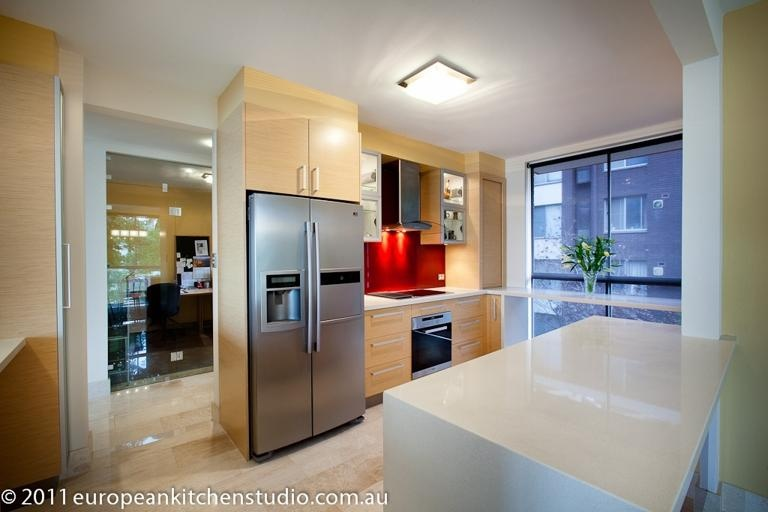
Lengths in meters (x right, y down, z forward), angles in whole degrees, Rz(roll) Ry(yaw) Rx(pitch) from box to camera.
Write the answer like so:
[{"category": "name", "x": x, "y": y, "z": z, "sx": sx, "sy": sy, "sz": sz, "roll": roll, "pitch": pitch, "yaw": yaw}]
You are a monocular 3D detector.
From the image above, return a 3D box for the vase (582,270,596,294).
[{"category": "vase", "x": 2.376, "y": 0.281, "z": 5.570, "sx": 0.130, "sy": 0.263, "sz": 0.366, "roll": -1, "pitch": 2, "yaw": 22}]

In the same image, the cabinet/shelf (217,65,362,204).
[{"category": "cabinet/shelf", "x": -0.723, "y": -0.867, "z": 4.473, "sx": 0.951, "sy": 0.761, "sz": 0.499, "roll": 0, "pitch": -9, "yaw": -17}]

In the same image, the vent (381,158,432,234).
[{"category": "vent", "x": 0.215, "y": -0.698, "z": 5.520, "sx": 0.755, "sy": 0.749, "sz": 0.676, "roll": -3, "pitch": 5, "yaw": -22}]

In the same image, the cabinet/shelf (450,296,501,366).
[{"category": "cabinet/shelf", "x": 1.088, "y": 0.822, "z": 5.596, "sx": 0.245, "sy": 0.715, "sz": 0.715, "roll": 0, "pitch": 2, "yaw": 42}]

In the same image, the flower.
[{"category": "flower", "x": 2.279, "y": 0.103, "z": 5.564, "sx": 0.659, "sy": 0.647, "sz": 0.625, "roll": 2, "pitch": -6, "yaw": -28}]
